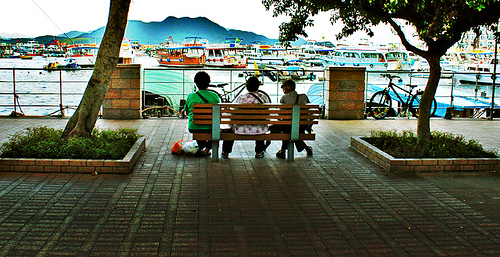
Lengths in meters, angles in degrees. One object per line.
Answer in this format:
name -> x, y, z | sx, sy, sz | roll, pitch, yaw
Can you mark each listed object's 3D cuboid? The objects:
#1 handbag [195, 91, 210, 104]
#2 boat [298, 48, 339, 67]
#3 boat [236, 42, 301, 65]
handbag -> -1.239, -0.811, 9.978 | 0.483, 0.079, 0.071 | 37, -3, 10
boat -> 15.044, -15.658, 84.956 | 13.083, 2.698, 3.185 | 1, 12, -7
boat -> 4.730, -18.014, 90.708 | 15.691, 4.621, 4.522 | 4, 12, 8
